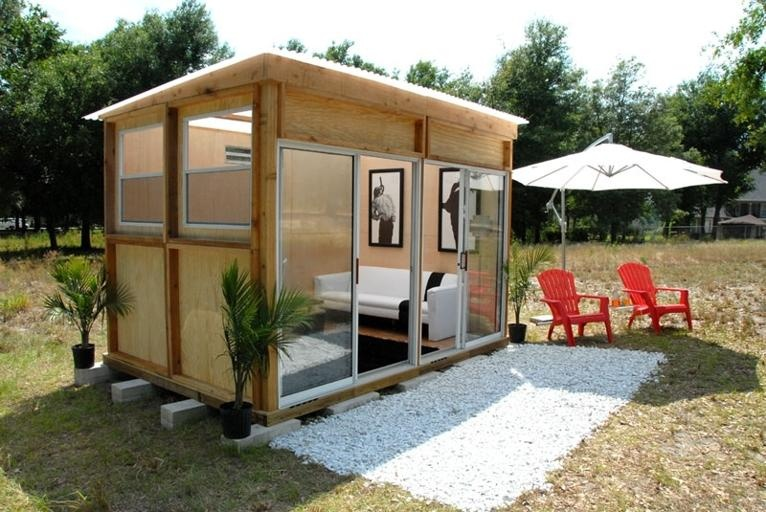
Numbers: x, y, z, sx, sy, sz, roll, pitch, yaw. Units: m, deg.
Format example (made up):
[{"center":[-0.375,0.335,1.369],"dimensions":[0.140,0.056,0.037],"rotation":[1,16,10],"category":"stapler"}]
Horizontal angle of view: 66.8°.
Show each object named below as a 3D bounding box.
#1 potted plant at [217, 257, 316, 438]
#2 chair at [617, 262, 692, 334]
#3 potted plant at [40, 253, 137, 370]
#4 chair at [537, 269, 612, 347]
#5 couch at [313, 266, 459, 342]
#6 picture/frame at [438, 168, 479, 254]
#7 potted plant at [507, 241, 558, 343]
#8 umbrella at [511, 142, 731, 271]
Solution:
[{"center":[-1.400,1.083,6.890],"dimensions":[1.028,2.065,0.574],"rotation":[-1,3,-17],"category":"potted plant"},{"center":[4.855,0.731,10.569],"dimensions":[0.992,1.073,1.170],"rotation":[-3,3,-25],"category":"chair"},{"center":[-4.361,0.830,8.382],"dimensions":[1.206,1.568,1.460],"rotation":[4,7,44],"category":"potted plant"},{"center":[3.550,1.028,10.920],"dimensions":[0.919,0.851,0.618],"rotation":[22,35,30],"category":"chair"},{"center":[0.095,0.799,10.731],"dimensions":[2.684,1.065,1.076],"rotation":[5,4,38],"category":"couch"},{"center":[1.318,-0.794,10.528],"dimensions":[0.043,1.511,0.701],"rotation":[-4,6,-39],"category":"picture/frame"},{"center":[2.423,0.650,10.208],"dimensions":[0.902,1.703,0.811],"rotation":[13,-10,-42],"category":"potted plant"},{"center":[4.079,-0.987,10.409],"dimensions":[3.099,2.522,1.846],"rotation":[1,3,29],"category":"umbrella"}]
